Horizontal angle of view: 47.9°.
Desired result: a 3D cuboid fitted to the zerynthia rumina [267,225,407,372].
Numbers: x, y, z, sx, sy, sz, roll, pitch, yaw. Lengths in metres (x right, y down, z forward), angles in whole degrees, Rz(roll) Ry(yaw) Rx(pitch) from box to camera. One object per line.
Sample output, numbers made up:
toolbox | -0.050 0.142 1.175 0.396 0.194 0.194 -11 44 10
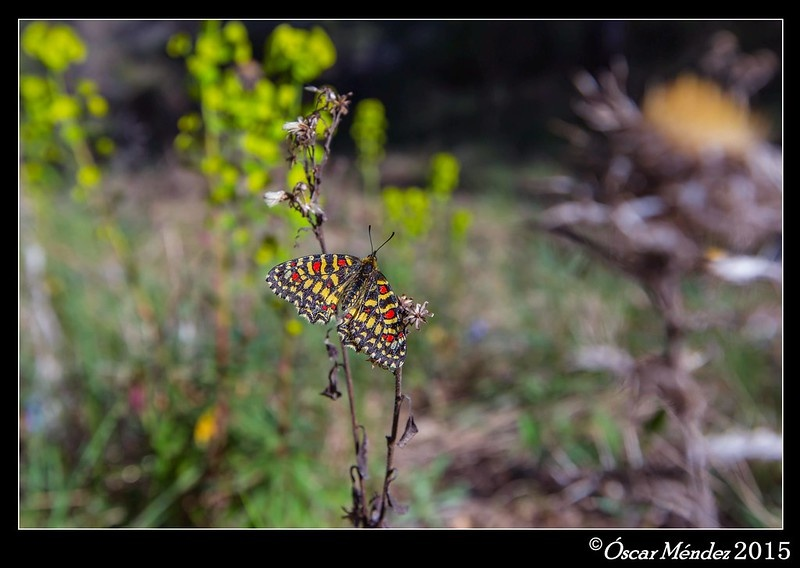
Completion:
zerynthia rumina | -0.160 0.020 2.790 0.506 0.154 0.284 33 83 2
